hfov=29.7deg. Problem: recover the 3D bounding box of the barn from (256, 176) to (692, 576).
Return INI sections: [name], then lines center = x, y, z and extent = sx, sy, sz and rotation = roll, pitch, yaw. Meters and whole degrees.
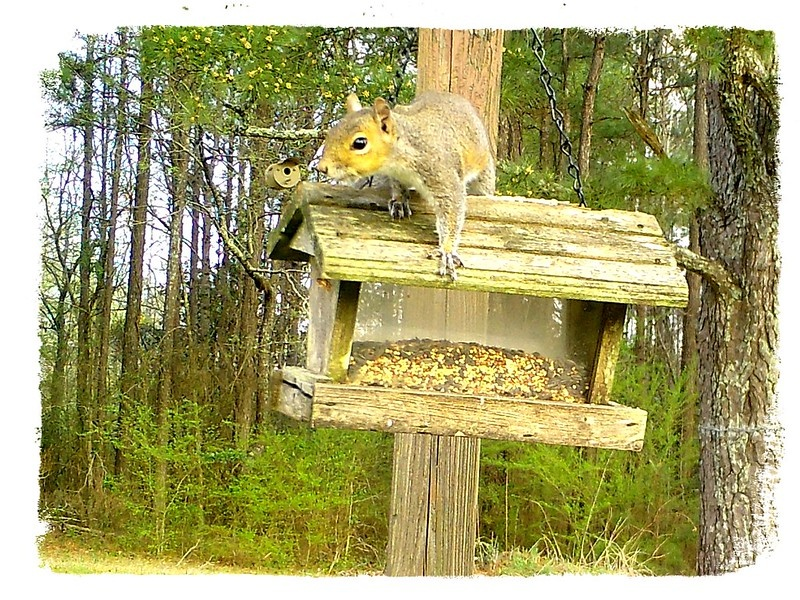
[barn]
center = 0.563, 1.244, 19.472
extent = 4.977, 5.569, 3.160
rotation = 4, 6, -19
